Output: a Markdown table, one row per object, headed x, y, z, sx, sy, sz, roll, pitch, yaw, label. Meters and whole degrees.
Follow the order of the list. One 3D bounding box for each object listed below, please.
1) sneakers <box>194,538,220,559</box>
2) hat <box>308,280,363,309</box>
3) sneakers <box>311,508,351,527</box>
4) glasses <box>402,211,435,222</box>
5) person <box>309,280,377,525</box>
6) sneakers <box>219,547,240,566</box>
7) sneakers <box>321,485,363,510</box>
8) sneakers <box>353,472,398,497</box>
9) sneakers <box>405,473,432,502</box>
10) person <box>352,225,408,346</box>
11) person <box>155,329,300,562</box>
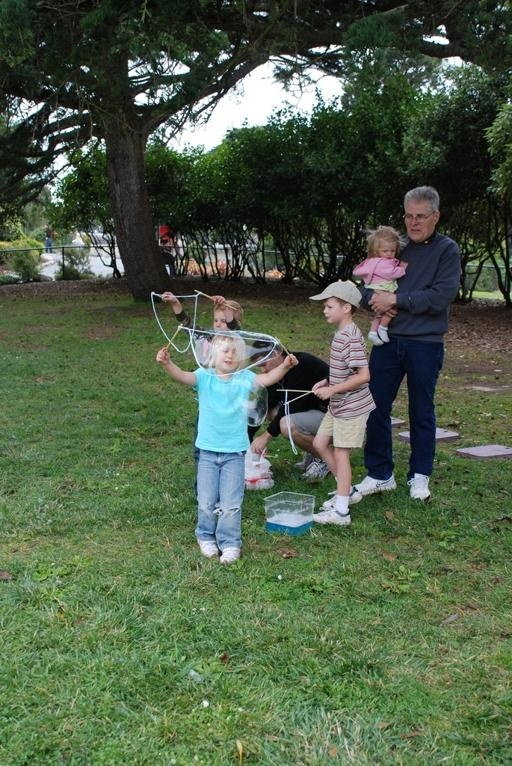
| x | y | z | sx | sy | sz | roll | pitch | yaw | label |
| --- | --- | --- | --- | --- | --- | --- | --- | --- | --- |
| -0.240 | 0.818 | 3.562 | 0.070 | 0.070 | 0.178 | 2 | -8 | -18 | sneakers |
| 0.450 | -0.484 | 4.014 | 0.245 | 0.111 | 0.151 | 7 | 4 | -2 | hat |
| 0.410 | 0.741 | 4.003 | 0.226 | 0.088 | 0.078 | 3 | -5 | 3 | sneakers |
| 0.908 | -0.925 | 4.058 | 0.121 | 0.054 | 0.055 | 4 | 16 | 22 | glasses |
| 0.483 | 0.103 | 4.048 | 0.358 | 1.305 | 0.622 | 0 | 15 | 7 | person |
| -0.129 | 0.834 | 3.470 | 0.098 | 0.059 | 0.165 | -2 | 14 | -2 | sneakers |
| 0.475 | 0.670 | 4.225 | 0.283 | 0.114 | 0.101 | -7 | -3 | -40 | sneakers |
| 0.734 | 0.636 | 4.444 | 0.293 | 0.116 | 0.102 | -1 | -4 | -15 | sneakers |
| 0.962 | 0.622 | 4.294 | 0.159 | 0.135 | 0.365 | -2 | -4 | 10 | sneakers |
| 0.771 | -0.579 | 4.369 | 0.326 | 0.674 | 0.333 | -1 | 3 | 41 | person |
| -0.196 | 0.301 | 3.614 | 0.450 | 1.038 | 0.503 | 8 | 18 | 33 | person |
